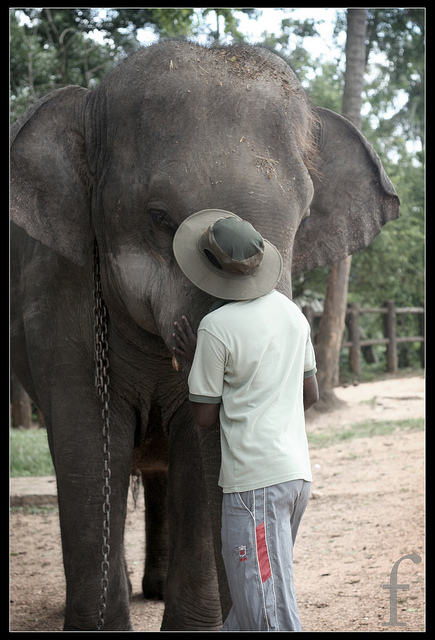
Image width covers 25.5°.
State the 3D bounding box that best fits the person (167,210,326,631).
[{"bbox_3d":[0.077,0.268,2.523,0.392,1.109,0.233,1,2,-6],"label":"person"}]

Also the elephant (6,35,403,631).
[{"bbox_3d":[-0.242,0.063,3.557,1.315,1.647,2.192,0,-5,-12],"label":"elephant"}]
